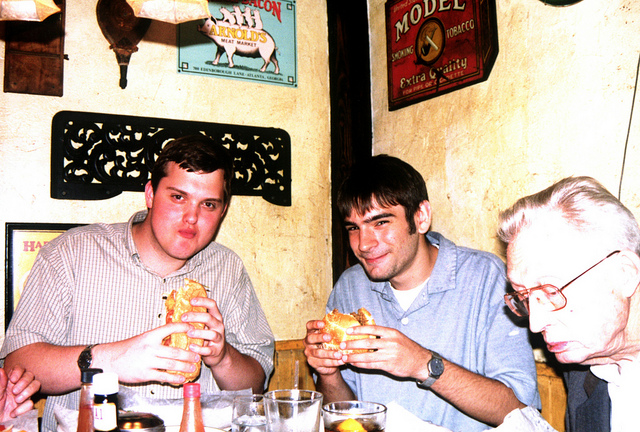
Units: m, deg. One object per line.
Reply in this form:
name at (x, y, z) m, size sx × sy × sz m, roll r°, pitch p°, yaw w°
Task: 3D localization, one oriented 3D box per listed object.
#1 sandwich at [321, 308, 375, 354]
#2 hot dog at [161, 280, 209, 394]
sandwich at (0.179, 0.700, 3.699) m, size 0.304 × 0.211 × 0.297 m, roll 3°, pitch -2°, yaw -32°
hot dog at (-0.808, 0.724, 3.559) m, size 0.253 × 0.593 × 0.666 m, roll 3°, pitch -1°, yaw -13°
